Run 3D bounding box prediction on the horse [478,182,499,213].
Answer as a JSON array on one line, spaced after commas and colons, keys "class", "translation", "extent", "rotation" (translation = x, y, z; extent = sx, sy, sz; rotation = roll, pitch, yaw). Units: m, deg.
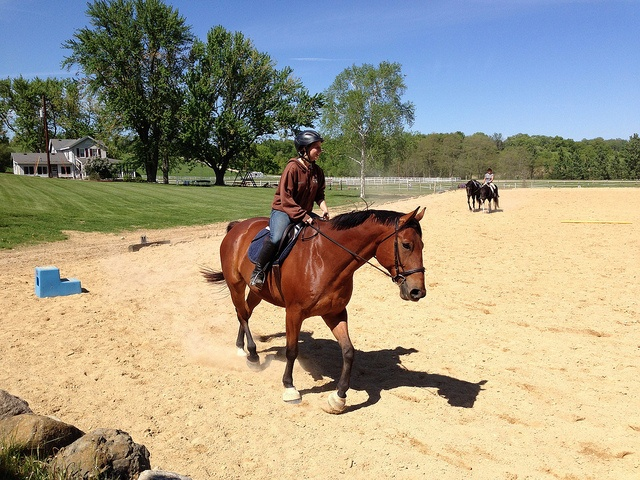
[{"class": "horse", "translation": [9.613, -2.475, 29.592], "extent": [1.109, 1.509, 2.134], "rotation": [3, 11, 18]}]
